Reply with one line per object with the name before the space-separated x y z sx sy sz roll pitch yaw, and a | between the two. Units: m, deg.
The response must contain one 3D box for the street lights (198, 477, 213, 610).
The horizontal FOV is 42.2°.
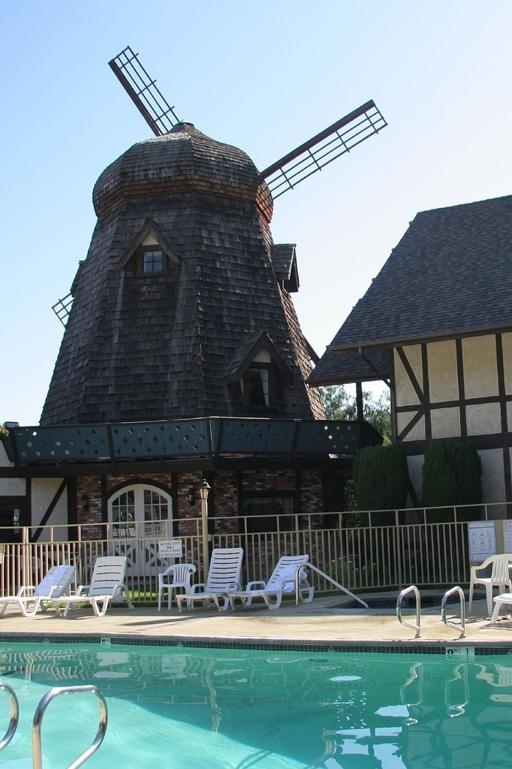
street lights | -0.942 2.688 11.934 0.333 1.931 0.305 -1 0 -2
